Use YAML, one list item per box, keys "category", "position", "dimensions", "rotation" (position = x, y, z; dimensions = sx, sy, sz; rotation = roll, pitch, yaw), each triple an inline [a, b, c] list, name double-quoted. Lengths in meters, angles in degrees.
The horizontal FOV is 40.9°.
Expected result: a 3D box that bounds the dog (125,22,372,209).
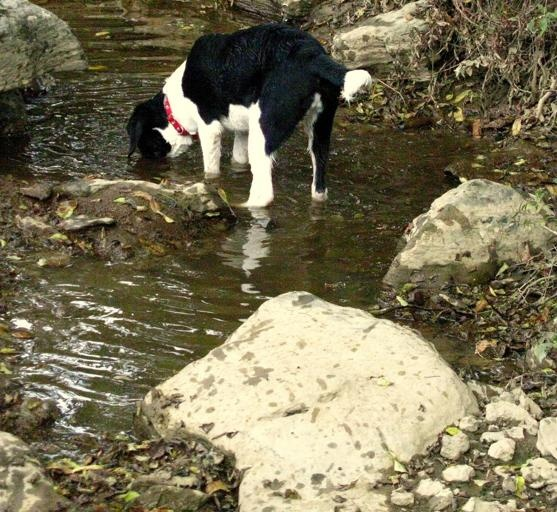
- category: "dog"
  position: [-0.390, -1.377, 7.284]
  dimensions: [1.084, 1.683, 2.611]
  rotation: [-19, 27, -34]
